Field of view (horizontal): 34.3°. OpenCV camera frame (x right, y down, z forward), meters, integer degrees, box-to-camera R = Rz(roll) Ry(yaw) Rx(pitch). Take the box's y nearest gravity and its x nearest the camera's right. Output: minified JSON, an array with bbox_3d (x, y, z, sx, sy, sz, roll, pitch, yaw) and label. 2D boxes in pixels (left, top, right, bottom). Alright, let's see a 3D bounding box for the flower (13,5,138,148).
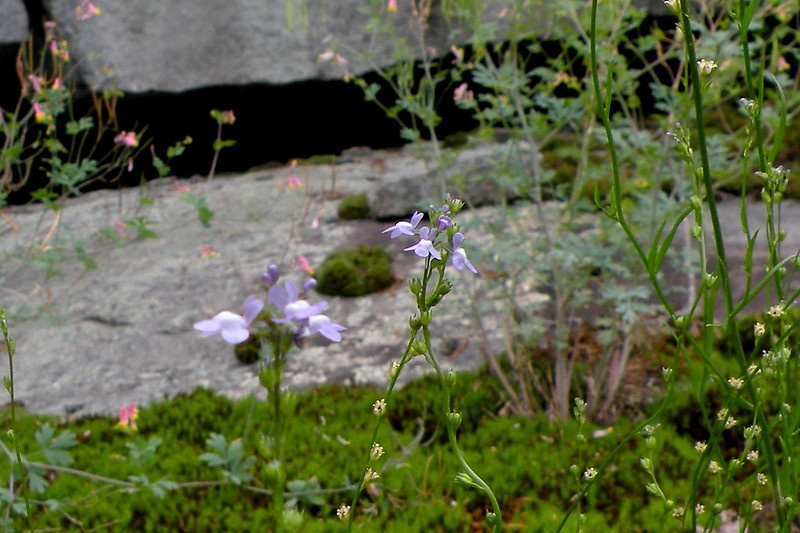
[{"bbox_3d":[-1.900,-0.984,7.318,0.501,0.949,0.315,-17,8,-16],"label":"flower"}]
